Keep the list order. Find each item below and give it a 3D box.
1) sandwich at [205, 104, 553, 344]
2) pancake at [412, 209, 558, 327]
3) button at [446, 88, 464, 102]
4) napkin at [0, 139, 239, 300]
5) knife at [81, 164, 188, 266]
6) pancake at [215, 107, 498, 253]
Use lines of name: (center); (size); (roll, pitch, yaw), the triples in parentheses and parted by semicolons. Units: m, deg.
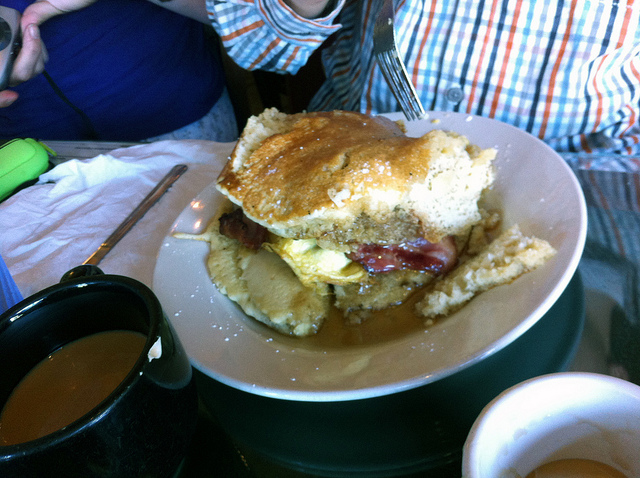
sandwich: (0.066, 0.003, 0.812); (0.403, 0.118, 0.398); (8, 45, 11)
pancake: (0.227, 0.054, 0.713); (0.052, 0.154, 0.156); (44, 87, 0)
button: (0.327, -0.345, 1.192); (0.042, 0.024, 0.030); (1, 73, 5)
napkin: (-0.394, 0.006, 1.100); (0.415, 0.043, 0.355); (-21, 44, -4)
knife: (-0.338, -0.115, 1.080); (0.051, 0.024, 0.490); (44, 39, -14)
pancake: (0.043, -0.100, 0.782); (0.329, 0.106, 0.273); (6, 40, 5)
